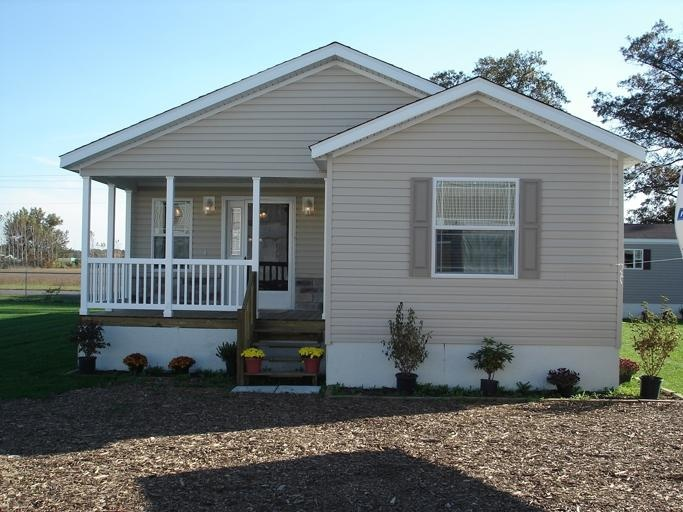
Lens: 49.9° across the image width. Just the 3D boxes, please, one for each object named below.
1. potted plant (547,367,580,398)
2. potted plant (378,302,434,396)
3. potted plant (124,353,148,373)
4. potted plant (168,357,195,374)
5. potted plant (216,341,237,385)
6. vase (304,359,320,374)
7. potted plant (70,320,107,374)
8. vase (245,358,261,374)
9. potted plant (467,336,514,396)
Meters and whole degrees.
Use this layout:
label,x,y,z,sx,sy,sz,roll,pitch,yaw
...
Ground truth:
label,x,y,z,sx,sy,sz,roll,pitch,yaw
potted plant,4.533,2.545,14.919,0.662,0.548,0.597,6,-4,-33
potted plant,1.418,1.809,14.870,0.908,1.704,0.831,-7,15,-28
potted plant,-4.410,2.280,15.685,0.490,0.399,0.459,-3,-9,26
potted plant,-3.434,2.309,15.772,0.475,0.276,0.431,-2,4,-15
potted plant,-2.323,2.221,15.739,0.475,0.682,0.454,-12,-2,5
vase,-0.628,2.294,15.309,0.357,0.219,0.320,1,-5,-5
potted plant,-5.456,1.951,15.947,0.678,1.103,0.566,-10,17,-38
vase,-1.810,2.273,15.174,0.347,0.215,0.340,-4,-7,35
potted plant,3.038,2.211,14.826,0.867,1.062,0.575,0,13,-3
